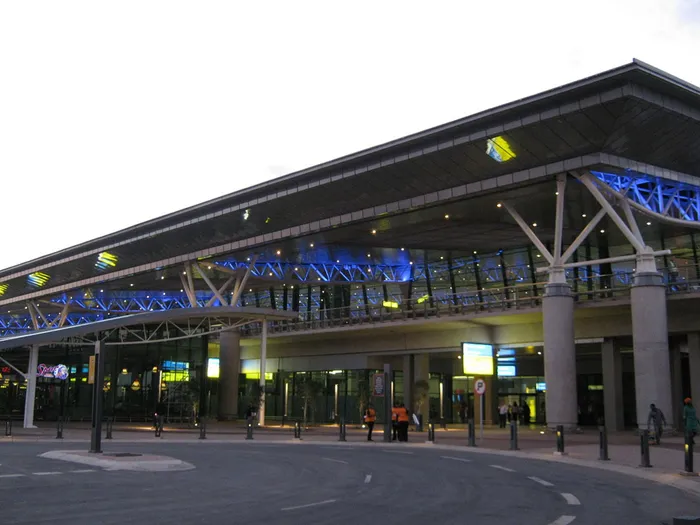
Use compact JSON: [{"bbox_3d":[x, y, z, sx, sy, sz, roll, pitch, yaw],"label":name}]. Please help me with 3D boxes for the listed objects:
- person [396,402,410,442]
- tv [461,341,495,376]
[{"bbox_3d":[2.637,8.000,33.361,0.584,1.796,0.851,-4,-15,1],"label":"person"},{"bbox_3d":[6.946,5.085,35.839,0.594,1.669,2.527,-14,-18,35],"label":"tv"}]
